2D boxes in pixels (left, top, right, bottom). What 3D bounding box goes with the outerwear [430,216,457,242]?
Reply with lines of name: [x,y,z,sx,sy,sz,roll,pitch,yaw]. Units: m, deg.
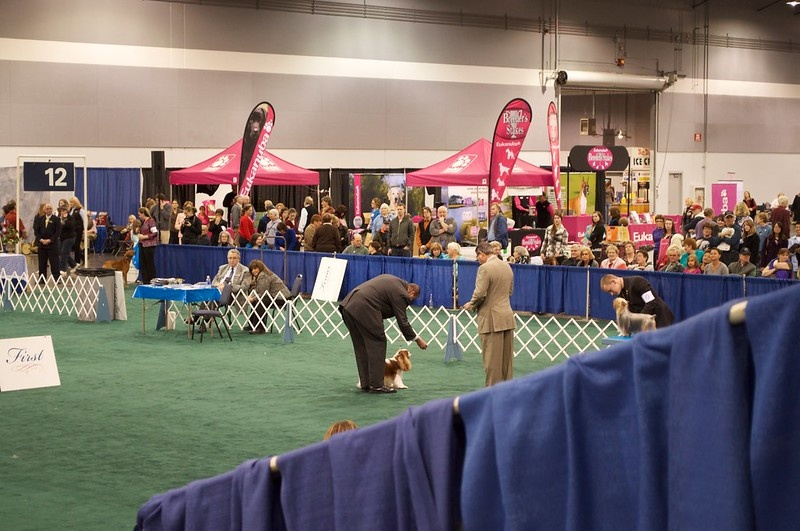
outerwear: [0.966,-0.726,18.058,0.603,0.920,0.479,0,-6,2]

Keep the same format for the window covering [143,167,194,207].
window covering: [-6.513,-2.173,22.867,1.353,1.367,0.113,0,-2,-15]

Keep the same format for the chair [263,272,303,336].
chair: [-2.012,0.653,14.294,0.549,1.026,0.497,-1,10,-24]

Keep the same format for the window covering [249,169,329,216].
window covering: [-3.268,-2.035,23.248,1.649,1.435,1.704,0,-3,-9]

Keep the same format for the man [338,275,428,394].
man: [-0.062,0.796,10.335,1.274,1.879,1.039,-1,6,-26]

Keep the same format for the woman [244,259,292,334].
woman: [-2.358,0.572,14.423,0.793,1.309,0.521,-2,3,-20]

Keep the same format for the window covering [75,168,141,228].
window covering: [-8.683,-2.036,24.096,1.717,2.140,0.150,2,7,-1]

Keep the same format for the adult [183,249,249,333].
adult: [-3.019,0.424,13.850,0.574,1.434,1.026,8,-2,21]

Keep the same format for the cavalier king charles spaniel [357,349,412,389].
cavalier king charles spaniel: [-0.169,1.348,10.388,0.679,0.548,0.262,1,-17,-25]

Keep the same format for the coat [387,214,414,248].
coat: [0.020,-0.717,17.691,0.579,0.970,0.384,0,-3,12]

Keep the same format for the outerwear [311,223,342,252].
outerwear: [-1.581,-0.566,18.048,0.722,0.965,0.511,1,5,6]

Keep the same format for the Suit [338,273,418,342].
Suit: [-0.236,0.534,10.223,0.897,0.894,0.749,-1,9,-17]

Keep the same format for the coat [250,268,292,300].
coat: [-2.233,0.333,14.323,0.537,0.516,0.442,-1,1,19]

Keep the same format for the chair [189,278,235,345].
chair: [-3.105,0.755,13.473,0.573,0.947,0.521,4,2,-30]
